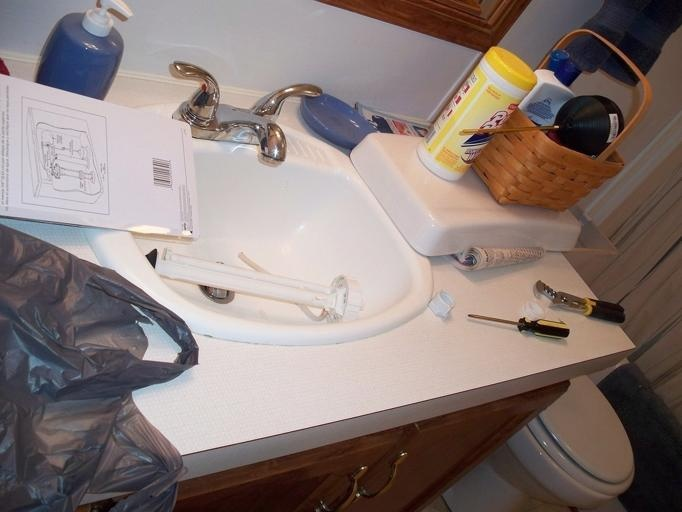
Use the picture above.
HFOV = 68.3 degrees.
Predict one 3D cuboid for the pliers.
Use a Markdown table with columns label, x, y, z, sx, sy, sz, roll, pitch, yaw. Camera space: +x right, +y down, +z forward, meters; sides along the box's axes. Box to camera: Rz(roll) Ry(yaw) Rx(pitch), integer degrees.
| label | x | y | z | sx | sy | sz | roll | pitch | yaw |
| --- | --- | --- | --- | --- | --- | --- | --- | --- | --- |
| pliers | 0.494 | 0.099 | 1.026 | 0.264 | 0.042 | 0.082 | 16 | 55 | -21 |

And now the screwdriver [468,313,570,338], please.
| label | x | y | z | sx | sy | sz | roll | pitch | yaw |
| --- | --- | --- | --- | --- | --- | --- | --- | --- | --- |
| screwdriver | 0.327 | 0.121 | 0.908 | 0.224 | 0.021 | 0.030 | 15 | 36 | -22 |

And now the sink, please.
| label | x | y | z | sx | sy | sz | roll | pitch | yaw |
| --- | --- | --- | --- | --- | --- | --- | --- | --- | --- |
| sink | -0.133 | -0.046 | 0.814 | 0.426 | 0.130 | 0.407 | -2 | 52 | -34 |

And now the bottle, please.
| label | x | y | z | sx | sy | sz | roll | pitch | yaw |
| --- | --- | --- | --- | --- | --- | --- | --- | --- | --- |
| bottle | 0.238 | -0.250 | 0.947 | 0.129 | 0.291 | 0.130 | 19 | 42 | -18 |

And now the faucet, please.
| label | x | y | z | sx | sy | sz | roll | pitch | yaw |
| --- | --- | --- | --- | --- | --- | --- | --- | --- | --- |
| faucet | -0.153 | -0.205 | 0.835 | 0.082 | 0.063 | 0.136 | -2 | 45 | -38 |

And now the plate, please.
| label | x | y | z | sx | sy | sz | roll | pitch | yaw |
| --- | --- | --- | --- | --- | --- | --- | --- | --- | --- |
| plate | 0.006 | -0.294 | 1.027 | 0.124 | 0.032 | 0.138 | 16 | 36 | -33 |
